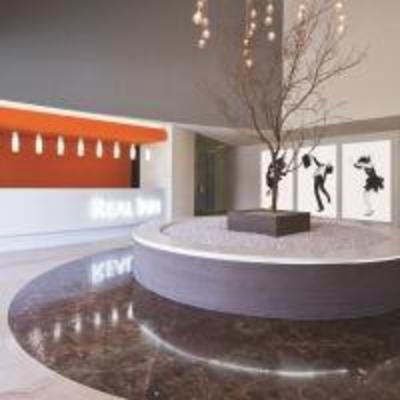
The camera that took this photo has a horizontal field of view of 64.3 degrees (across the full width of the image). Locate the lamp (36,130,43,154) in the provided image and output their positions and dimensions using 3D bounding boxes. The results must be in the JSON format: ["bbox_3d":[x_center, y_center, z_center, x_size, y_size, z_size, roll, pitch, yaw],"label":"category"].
[{"bbox_3d":[-2.820,-1.001,5.585,0.085,0.394,0.879,-3,5,-27],"label":"lamp"}]

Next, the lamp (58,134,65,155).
[{"bbox_3d":[-2.496,-0.989,5.715,0.090,0.376,0.783,-3,5,-24],"label":"lamp"}]
